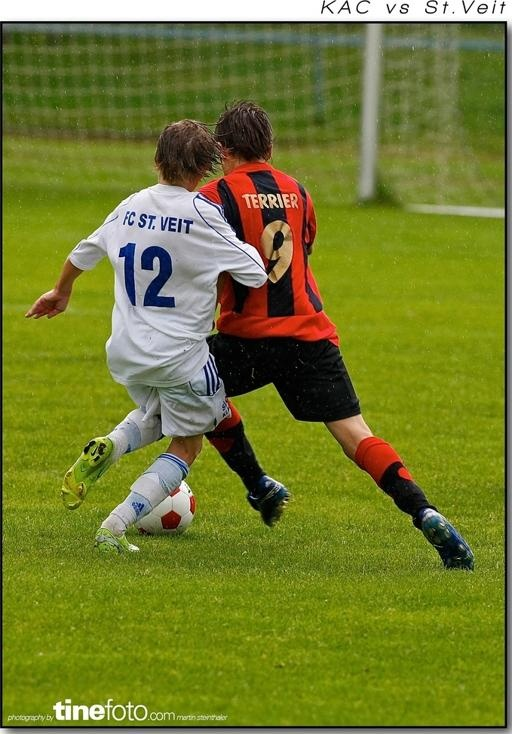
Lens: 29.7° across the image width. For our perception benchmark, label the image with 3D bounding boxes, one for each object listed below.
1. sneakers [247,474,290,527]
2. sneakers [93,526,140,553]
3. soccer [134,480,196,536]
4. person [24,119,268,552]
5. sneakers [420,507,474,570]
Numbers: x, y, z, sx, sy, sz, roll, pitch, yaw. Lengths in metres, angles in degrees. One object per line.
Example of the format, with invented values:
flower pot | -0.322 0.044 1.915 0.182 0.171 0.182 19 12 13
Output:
sneakers | 0.054 0.577 4.178 0.143 0.280 0.102 3 54 1
sneakers | -0.528 0.647 3.602 0.204 0.091 0.070 11 20 -27
soccer | -0.423 0.577 4.009 0.251 0.254 0.240 -5 -9 7
person | -0.380 -0.081 3.611 0.794 1.662 0.505 5 13 4
sneakers | 0.707 0.637 3.559 0.235 0.248 0.098 -4 15 -29
